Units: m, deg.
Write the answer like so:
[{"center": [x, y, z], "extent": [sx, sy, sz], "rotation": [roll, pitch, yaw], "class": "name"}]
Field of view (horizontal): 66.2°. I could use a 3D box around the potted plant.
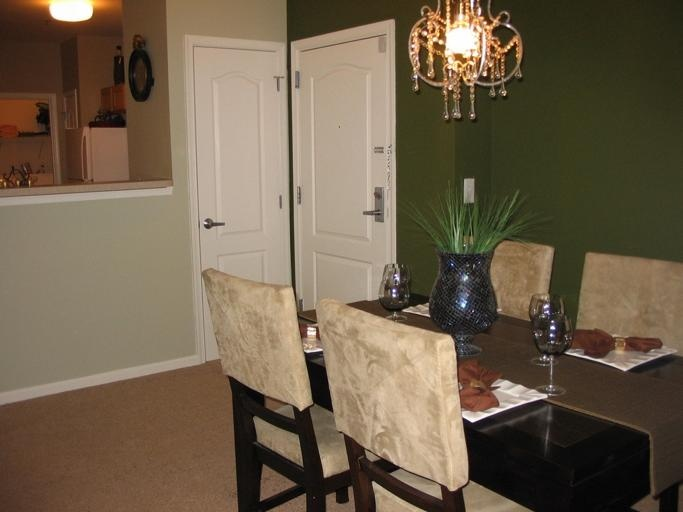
[{"center": [0.485, 0.042, 2.042], "extent": [0.290, 0.575, 0.367], "rotation": [5, 2, 24], "class": "potted plant"}]
